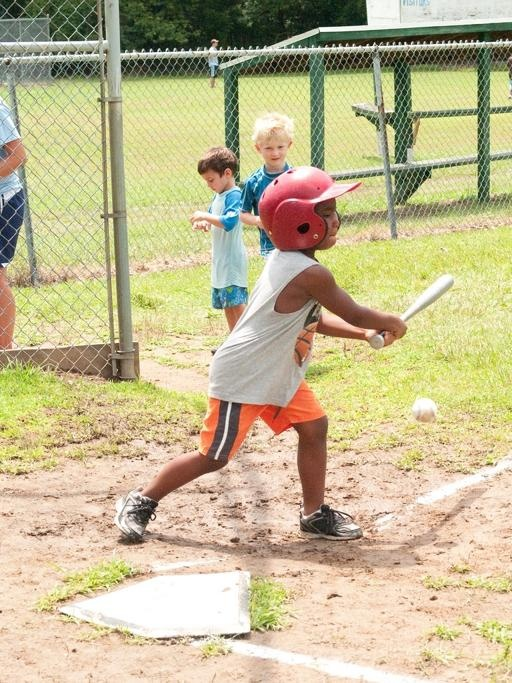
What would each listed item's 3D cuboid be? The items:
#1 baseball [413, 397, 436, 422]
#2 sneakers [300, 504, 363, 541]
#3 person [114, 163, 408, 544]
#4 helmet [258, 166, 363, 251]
[{"bbox_3d":[0.650,0.264,3.313,0.106,0.083,0.090,0,26,4],"label":"baseball"},{"bbox_3d":[0.277,0.672,3.185,0.259,0.095,0.111,3,0,2],"label":"sneakers"},{"bbox_3d":[0.021,0.079,3.002,0.991,1.340,0.327,-2,16,-1],"label":"person"},{"bbox_3d":[0.146,-0.415,2.773,0.378,0.225,0.246,0,14,11],"label":"helmet"}]
